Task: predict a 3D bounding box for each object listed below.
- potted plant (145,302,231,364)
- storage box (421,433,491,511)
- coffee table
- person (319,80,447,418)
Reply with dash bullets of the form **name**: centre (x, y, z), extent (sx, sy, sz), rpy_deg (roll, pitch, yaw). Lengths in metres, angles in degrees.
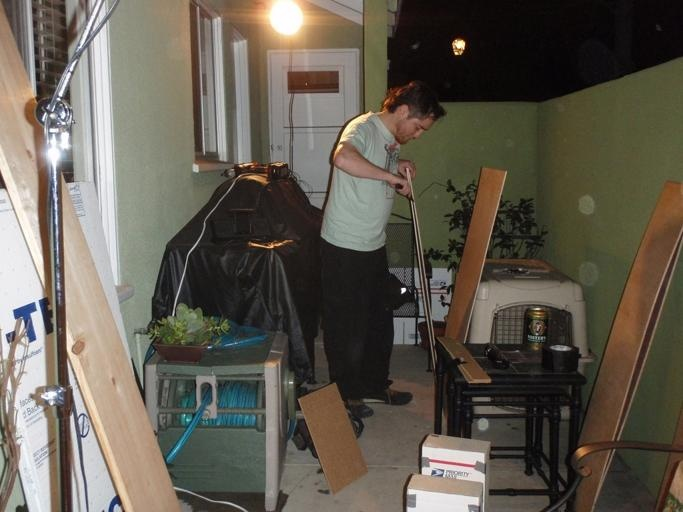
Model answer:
- **potted plant**: centre (-0.706, 0.354, 3.311), extent (0.386, 0.249, 0.272), rpy_deg (-1, 7, -18)
- **storage box**: centre (0.454, 0.811, 2.865), extent (0.322, 0.375, 0.215), rpy_deg (1, -2, 11)
- **coffee table**: centre (0.781, 0.730, 3.390), extent (0.715, 0.809, 0.716), rpy_deg (0, 1, 6)
- **person**: centre (0.191, -0.003, 3.953), extent (0.612, 1.923, 0.580), rpy_deg (0, 7, -2)
